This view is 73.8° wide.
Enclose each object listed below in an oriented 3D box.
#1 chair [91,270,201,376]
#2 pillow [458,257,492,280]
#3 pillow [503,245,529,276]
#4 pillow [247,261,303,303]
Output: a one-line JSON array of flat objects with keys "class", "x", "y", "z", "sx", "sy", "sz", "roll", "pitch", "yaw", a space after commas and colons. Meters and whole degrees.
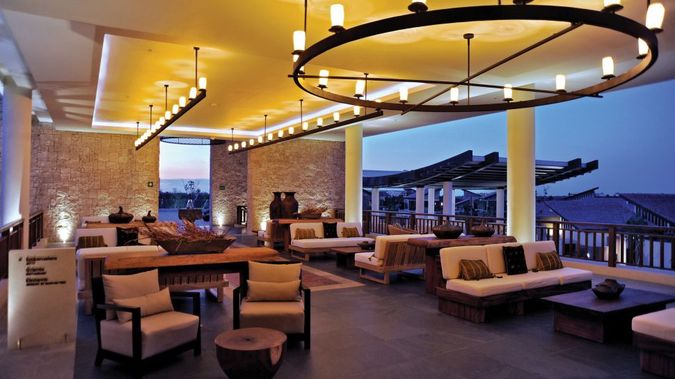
[{"class": "chair", "x": -3.430, "y": 2.218, "z": 8.252, "sx": 1.959, "sy": 1.638, "sz": 1.764, "roll": -5, "pitch": -6, "yaw": 33}, {"class": "pillow", "x": 2.933, "y": 1.686, "z": 9.572, "sx": 0.698, "sy": 0.377, "sz": 0.389, "roll": -7, "pitch": 16, "yaw": -25}, {"class": "pillow", "x": 3.931, "y": 1.577, "z": 9.972, "sx": 0.780, "sy": 0.581, "sz": 0.248, "roll": 1, "pitch": -14, "yaw": -20}, {"class": "pillow", "x": -1.186, "y": 1.736, "z": 8.381, "sx": 0.947, "sy": 0.530, "sz": 0.310, "roll": 0, "pitch": -15, "yaw": -4}]
